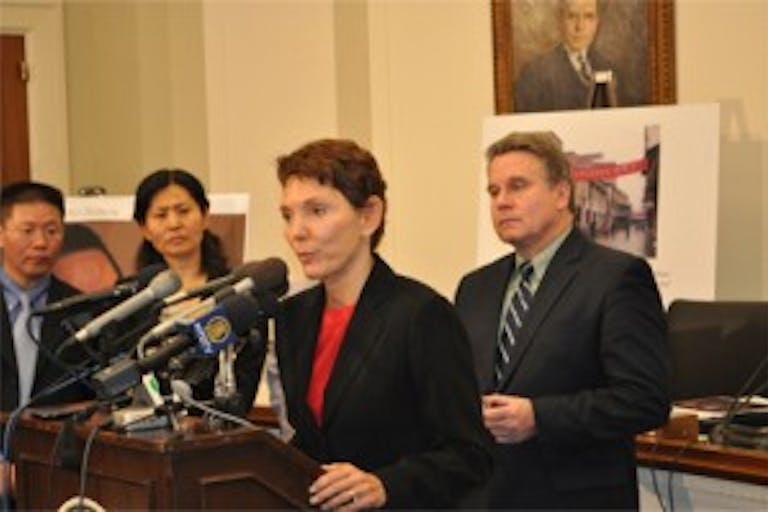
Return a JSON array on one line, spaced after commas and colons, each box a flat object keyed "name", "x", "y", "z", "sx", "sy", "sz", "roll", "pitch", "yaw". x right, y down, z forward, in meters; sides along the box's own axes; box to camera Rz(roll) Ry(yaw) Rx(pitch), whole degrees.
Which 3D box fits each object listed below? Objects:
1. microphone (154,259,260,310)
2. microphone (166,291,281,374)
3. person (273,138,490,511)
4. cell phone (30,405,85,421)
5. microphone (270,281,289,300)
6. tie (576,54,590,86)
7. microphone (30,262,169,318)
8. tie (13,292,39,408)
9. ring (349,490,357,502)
[{"name": "microphone", "x": -0.776, "y": 0.127, "z": 3.066, "sx": 0.515, "sy": 0.088, "sz": 0.086, "roll": -23, "pitch": 25, "yaw": -27}, {"name": "microphone", "x": -0.557, "y": 0.245, "z": 2.630, "sx": 0.449, "sy": 0.178, "sz": 0.144, "roll": -32, "pitch": 8, "yaw": -30}, {"name": "person", "x": -0.051, "y": 0.263, "z": 2.865, "sx": 0.760, "sy": 1.463, "sz": 0.620, "roll": -4, "pitch": 4, "yaw": -13}, {"name": "cell phone", "x": -1.240, "y": 0.597, "z": 2.725, "sx": 0.175, "sy": 0.018, "sz": 0.099, "roll": -5, "pitch": 8, "yaw": -31}, {"name": "microphone", "x": -0.402, "y": 0.133, "z": 2.748, "sx": 0.062, "sy": 0.046, "sz": 0.062, "roll": -37, "pitch": 21, "yaw": 3}, {"name": "tie", "x": 1.552, "y": -1.442, "z": 5.599, "sx": 0.065, "sy": 0.267, "sz": 0.077, "roll": -11, "pitch": -7, "yaw": 10}, {"name": "microphone", "x": -1.428, "y": 0.173, "z": 3.524, "sx": 0.558, "sy": 0.132, "sz": 0.137, "roll": -20, "pitch": -6, "yaw": -30}, {"name": "tie", "x": -1.984, "y": 0.501, "z": 3.961, "sx": 0.111, "sy": 0.582, "sz": 0.280, "roll": -5, "pitch": 4, "yaw": -28}, {"name": "ring", "x": -0.113, "y": 0.855, "z": 2.567, "sx": 0.014, "sy": 0.035, "sz": 0.026, "roll": -18, "pitch": 13, "yaw": -39}]
